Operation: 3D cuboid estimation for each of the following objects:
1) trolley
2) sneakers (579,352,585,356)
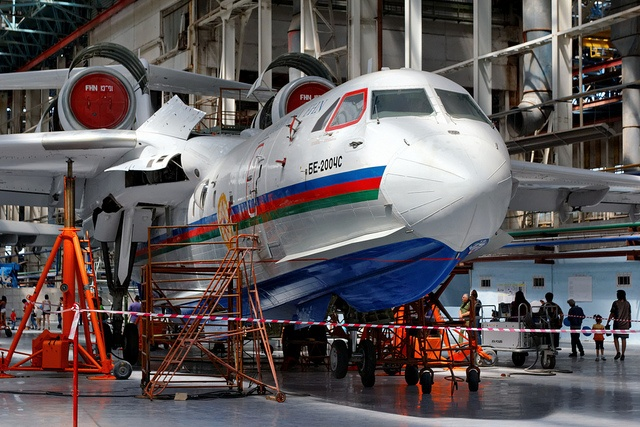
[{"bbox_3d":[6.471,3.961,28.302,1.570,1.961,2.496,2,-6,-30],"label":"trolley"},{"bbox_3d":[9.680,5.271,32.516,0.195,0.196,0.102,2,-5,-18],"label":"sneakers"}]
